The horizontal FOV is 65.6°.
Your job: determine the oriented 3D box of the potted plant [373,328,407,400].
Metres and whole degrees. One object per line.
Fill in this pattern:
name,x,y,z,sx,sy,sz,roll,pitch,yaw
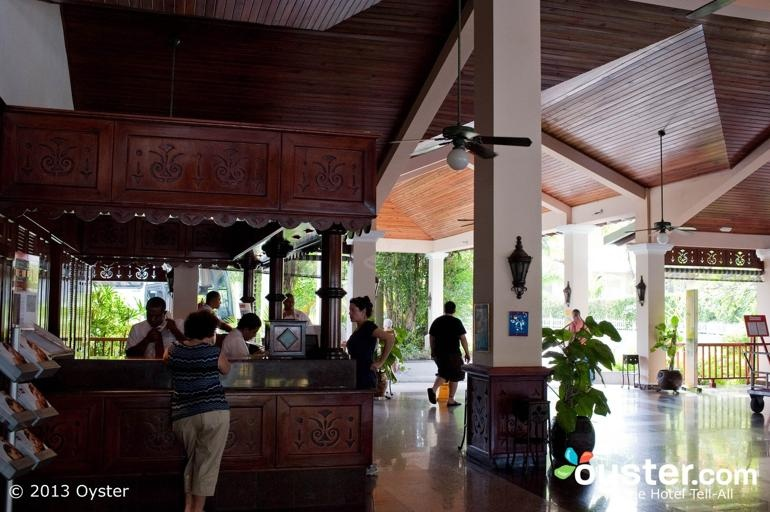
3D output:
potted plant,-0.080,2.075,11.637,0.958,1.334,0.829,0,-14,15

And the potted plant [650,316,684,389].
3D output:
potted plant,5.975,2.111,12.770,0.568,1.594,1.355,-1,-7,26

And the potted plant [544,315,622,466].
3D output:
potted plant,2.347,1.641,7.276,0.891,1.799,0.935,-2,-8,28

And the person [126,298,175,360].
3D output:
person,-2.885,0.900,7.492,0.627,0.735,0.572,5,-7,-23

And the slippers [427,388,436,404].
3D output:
slippers,0.785,2.527,10.487,0.141,0.346,0.139,-7,-2,14

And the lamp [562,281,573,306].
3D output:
lamp,4.293,0.921,14.091,0.153,0.568,0.226,0,-7,16

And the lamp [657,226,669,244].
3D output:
lamp,5.328,-0.373,11.512,0.165,0.285,0.626,-1,-7,22

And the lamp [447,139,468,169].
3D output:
lamp,0.786,-1.089,6.517,0.286,0.377,0.280,2,-3,4

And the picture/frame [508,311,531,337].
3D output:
picture/frame,1.635,0.852,7.412,0.329,0.361,0.051,2,-4,-13

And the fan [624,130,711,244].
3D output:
fan,5.507,-1.413,11.925,1.684,2.199,1.692,0,-1,-10

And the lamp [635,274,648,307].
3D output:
lamp,5.505,0.774,12.956,0.174,0.636,0.240,7,-8,-34

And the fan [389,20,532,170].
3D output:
fan,0.817,-1.869,6.600,1.728,1.725,1.511,-5,11,-6

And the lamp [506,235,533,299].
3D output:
lamp,1.674,0.151,7.386,0.340,0.773,0.241,3,-7,-7
